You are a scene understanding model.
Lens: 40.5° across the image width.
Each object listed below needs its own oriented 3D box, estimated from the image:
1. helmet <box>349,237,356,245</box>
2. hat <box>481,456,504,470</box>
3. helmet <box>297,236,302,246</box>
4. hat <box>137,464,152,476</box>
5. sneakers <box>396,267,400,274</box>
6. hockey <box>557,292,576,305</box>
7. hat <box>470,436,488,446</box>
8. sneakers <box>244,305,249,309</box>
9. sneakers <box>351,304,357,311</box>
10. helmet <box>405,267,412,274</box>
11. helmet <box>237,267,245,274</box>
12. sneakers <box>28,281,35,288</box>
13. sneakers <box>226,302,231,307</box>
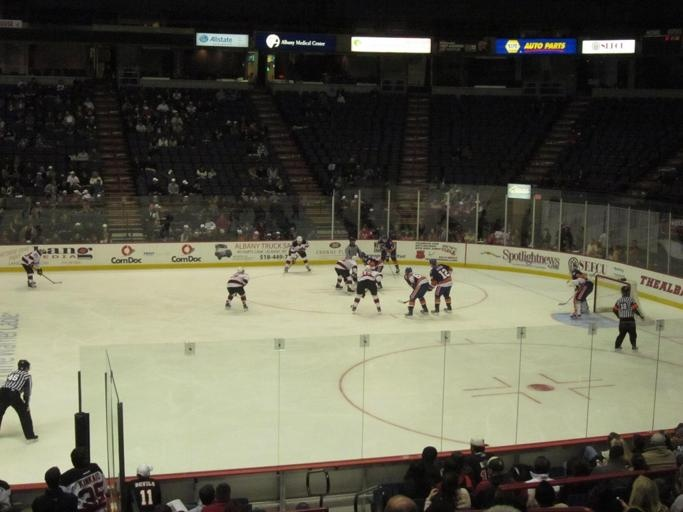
[{"bbox_3d":[0.290,-0.486,28.409,0.191,0.239,0.249,-1,-9,-6],"label":"helmet"},{"bbox_3d":[2.447,3.415,15.219,0.323,0.248,0.462,0,6,12],"label":"hat"},{"bbox_3d":[-1.377,-0.512,29.569,0.188,0.236,0.243,-1,5,-6],"label":"helmet"},{"bbox_3d":[-3.184,3.437,14.875,0.225,0.225,0.320,-3,6,-12],"label":"hat"},{"bbox_3d":[1.755,0.470,29.978,0.100,0.197,0.206,-4,-5,4],"label":"sneakers"},{"bbox_3d":[6.292,1.167,26.161,0.416,0.289,1.199,0,6,15],"label":"hockey"},{"bbox_3d":[2.257,3.120,15.571,0.236,0.167,0.299,-1,6,2],"label":"hat"},{"bbox_3d":[-2.588,1.322,24.653,0.080,0.113,0.037,1,41,0],"label":"sneakers"},{"bbox_3d":[0.288,1.342,24.603,0.131,0.247,0.131,4,40,1],"label":"sneakers"},{"bbox_3d":[1.673,0.372,24.097,0.132,0.177,0.179,-28,-2,32],"label":"helmet"},{"bbox_3d":[-2.706,0.378,24.515,0.186,0.096,0.198,-3,6,-10],"label":"helmet"},{"bbox_3d":[-9.032,0.788,26.926,0.206,0.204,0.332,-3,7,-19],"label":"sneakers"},{"bbox_3d":[-3.078,1.307,24.912,0.122,0.199,0.125,0,3,-11],"label":"sneakers"}]
